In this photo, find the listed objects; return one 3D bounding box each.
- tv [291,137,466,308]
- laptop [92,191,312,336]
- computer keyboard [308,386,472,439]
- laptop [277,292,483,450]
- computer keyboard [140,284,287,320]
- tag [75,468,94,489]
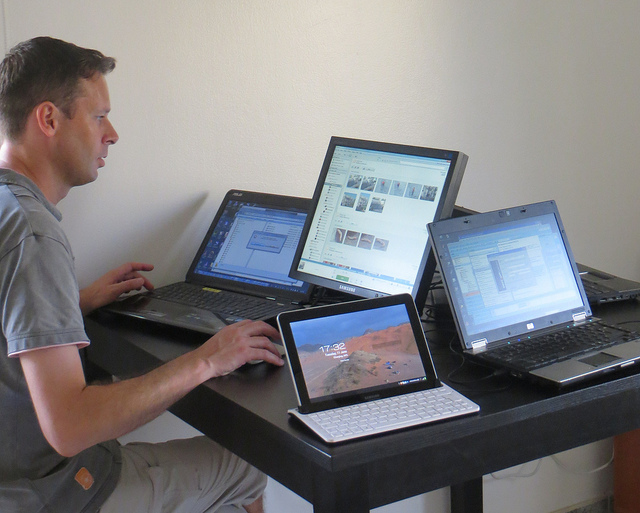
[{"bbox_3d":[0.113,-0.100,1.260,0.454,0.363,0.158,6,29,-43],"label":"tv"},{"bbox_3d":[-0.294,0.013,1.432,0.498,0.233,0.482,7,22,30],"label":"laptop"},{"bbox_3d":[0.113,0.248,0.835,0.241,0.030,0.086,0,9,-19],"label":"computer keyboard"},{"bbox_3d":[0.094,0.180,0.846,0.294,0.142,0.208,-7,8,-17],"label":"laptop"},{"bbox_3d":[-0.293,0.120,1.399,0.466,0.024,0.138,9,10,37],"label":"computer keyboard"},{"bbox_3d":[-0.447,0.422,0.983,0.017,0.036,0.031,6,9,14],"label":"tag"}]
